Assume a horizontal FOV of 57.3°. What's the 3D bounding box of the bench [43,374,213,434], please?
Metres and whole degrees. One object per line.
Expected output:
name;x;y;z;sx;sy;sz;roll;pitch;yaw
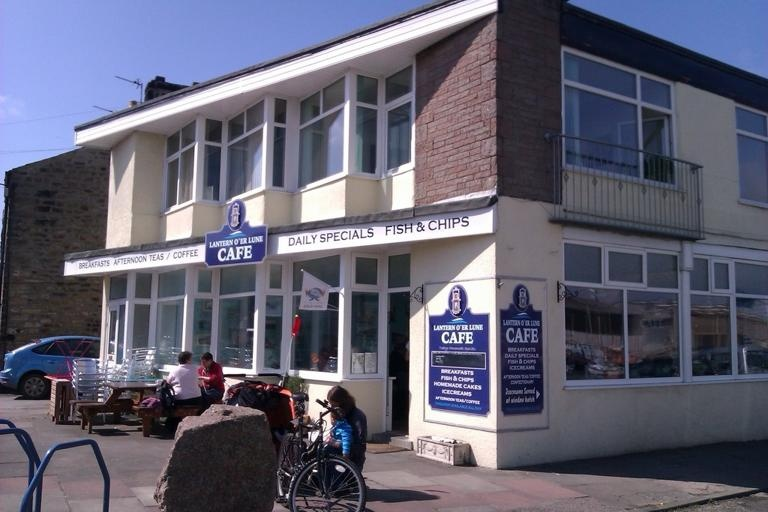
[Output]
bench;-6.820;3.594;17.080;2.174;0.658;2.134;5;-5;-42

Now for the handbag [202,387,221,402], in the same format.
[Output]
handbag;-3.997;3.235;16.501;0.339;0.171;0.446;15;1;-2

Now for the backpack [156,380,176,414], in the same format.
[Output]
backpack;-4.873;3.183;15.878;0.409;0.686;0.182;-8;-3;41
